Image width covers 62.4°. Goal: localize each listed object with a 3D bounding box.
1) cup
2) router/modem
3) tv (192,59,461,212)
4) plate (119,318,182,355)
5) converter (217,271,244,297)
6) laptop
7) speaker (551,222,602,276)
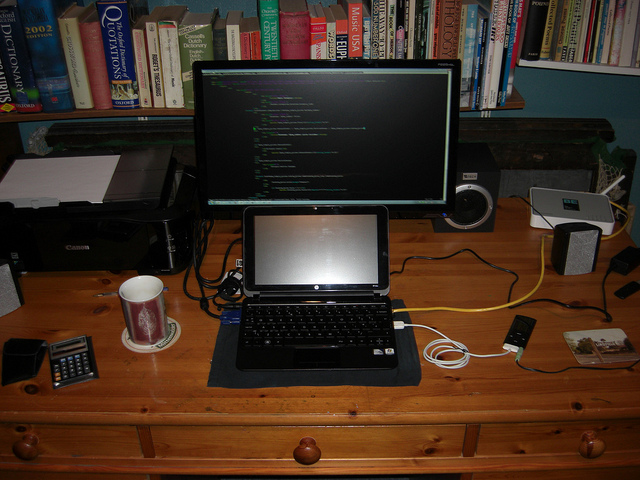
[{"bbox_3d":[-0.461,0.186,1.381,0.159,0.135,0.100,25,36,32],"label":"cup"},{"bbox_3d":[0.829,-0.105,1.893,0.438,0.164,0.285,4,30,6],"label":"router/modem"},{"bbox_3d":[0.018,-0.290,1.511,0.742,0.424,0.068,-1,23,0],"label":"tv"},{"bbox_3d":[-0.444,0.255,1.383,0.120,0.039,0.113,-21,32,-39],"label":"plate"},{"bbox_3d":[-0.261,0.131,1.533,0.063,0.044,0.074,2,2,-2],"label":"converter"},{"bbox_3d":[-0.012,0.138,1.441,0.500,0.274,0.398,-1,52,0],"label":"laptop"},{"bbox_3d":[0.761,0.029,1.580,0.142,0.171,0.097,-3,36,4],"label":"speaker"}]
